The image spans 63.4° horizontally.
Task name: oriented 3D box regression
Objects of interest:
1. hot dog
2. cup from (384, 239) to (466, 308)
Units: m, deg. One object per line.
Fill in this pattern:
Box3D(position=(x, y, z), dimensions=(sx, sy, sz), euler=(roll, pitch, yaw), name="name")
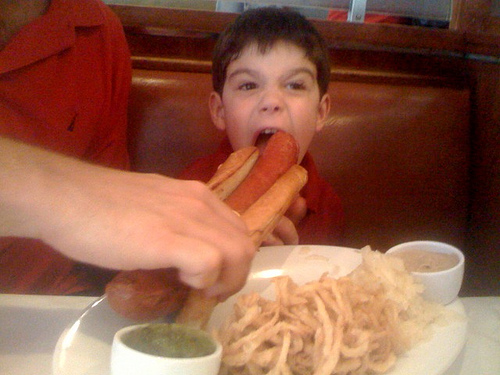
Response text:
Box3D(position=(-0.041, 0.063, 0.933), dimensions=(0.222, 0.167, 0.616), euler=(25, 30, 18), name="hot dog")
Box3D(position=(0.429, 0.183, 0.979), dimensions=(0.140, 0.090, 0.154), euler=(-5, 19, -6), name="cup")
